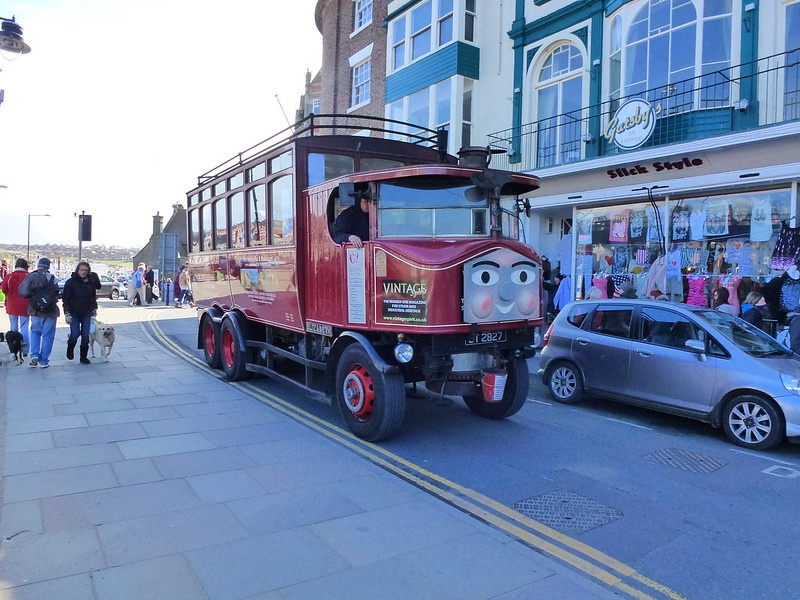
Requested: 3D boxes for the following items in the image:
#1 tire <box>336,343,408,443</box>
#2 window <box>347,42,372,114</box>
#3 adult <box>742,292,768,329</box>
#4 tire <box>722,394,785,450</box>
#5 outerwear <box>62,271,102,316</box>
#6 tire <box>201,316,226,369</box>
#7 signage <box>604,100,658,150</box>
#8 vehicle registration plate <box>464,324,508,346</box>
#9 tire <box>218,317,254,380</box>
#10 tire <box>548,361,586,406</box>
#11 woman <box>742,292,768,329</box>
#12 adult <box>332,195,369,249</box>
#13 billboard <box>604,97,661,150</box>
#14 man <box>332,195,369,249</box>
[{"bbox_3d":[-0.407,1.213,7.316,0.358,1.269,1.077,-5,9,-42],"label":"tire"},{"bbox_3d":[-1.902,-10.294,25.476,0.570,2.753,2.165,-1,7,-20],"label":"window"},{"bbox_3d":[6.953,0.186,10.691,0.320,0.937,0.541,-7,10,5],"label":"adult"},{"bbox_3d":[4.648,1.582,7.151,0.222,0.742,0.700,4,-4,-26],"label":"tire"},{"bbox_3d":[-6.785,-0.128,11.606,0.447,0.949,0.722,6,8,37],"label":"outerwear"},{"bbox_3d":[-3.898,0.851,11.461,0.362,1.106,1.039,-3,3,-29],"label":"tire"},{"bbox_3d":[5.899,-4.450,13.867,0.189,1.417,1.402,10,13,-30],"label":"signage"},{"bbox_3d":[1.099,0.429,6.992,0.701,0.261,0.088,-4,8,-37],"label":"vehicle registration plate"},{"bbox_3d":[-3.144,0.910,10.526,0.337,1.039,0.977,-3,13,-30],"label":"tire"},{"bbox_3d":[2.829,1.382,9.219,0.220,0.647,0.610,2,-14,-37],"label":"tire"},{"bbox_3d":[6.953,0.186,10.691,0.320,0.937,0.541,-7,10,5],"label":"woman"},{"bbox_3d":[-0.621,-1.106,7.448,0.405,0.724,0.659,-2,7,-28],"label":"adult"},{"bbox_3d":[5.943,-4.483,13.857,0.200,1.502,1.478,11,11,-30],"label":"billboard"},{"bbox_3d":[-0.621,-1.106,7.448,0.405,0.724,0.659,-2,7,-28],"label":"man"}]
